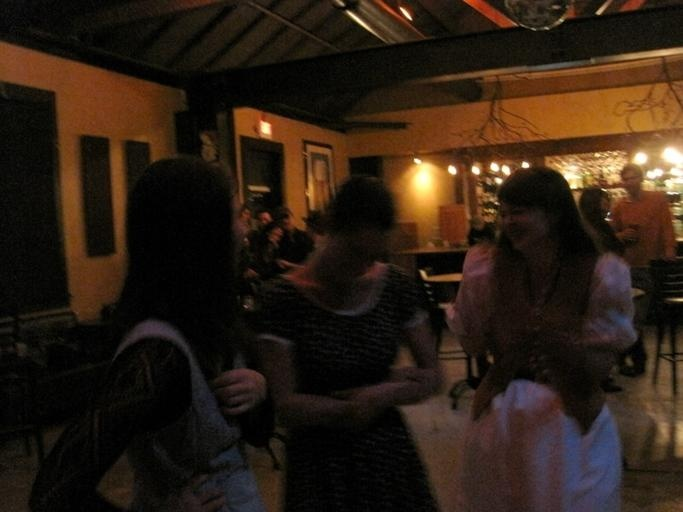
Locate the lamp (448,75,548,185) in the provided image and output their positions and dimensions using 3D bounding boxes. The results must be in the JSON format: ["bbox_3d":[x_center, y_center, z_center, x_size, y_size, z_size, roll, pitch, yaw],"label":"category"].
[{"bbox_3d":[1.958,-1.475,6.798,1.685,1.390,0.401,-11,20,-24],"label":"lamp"}]
